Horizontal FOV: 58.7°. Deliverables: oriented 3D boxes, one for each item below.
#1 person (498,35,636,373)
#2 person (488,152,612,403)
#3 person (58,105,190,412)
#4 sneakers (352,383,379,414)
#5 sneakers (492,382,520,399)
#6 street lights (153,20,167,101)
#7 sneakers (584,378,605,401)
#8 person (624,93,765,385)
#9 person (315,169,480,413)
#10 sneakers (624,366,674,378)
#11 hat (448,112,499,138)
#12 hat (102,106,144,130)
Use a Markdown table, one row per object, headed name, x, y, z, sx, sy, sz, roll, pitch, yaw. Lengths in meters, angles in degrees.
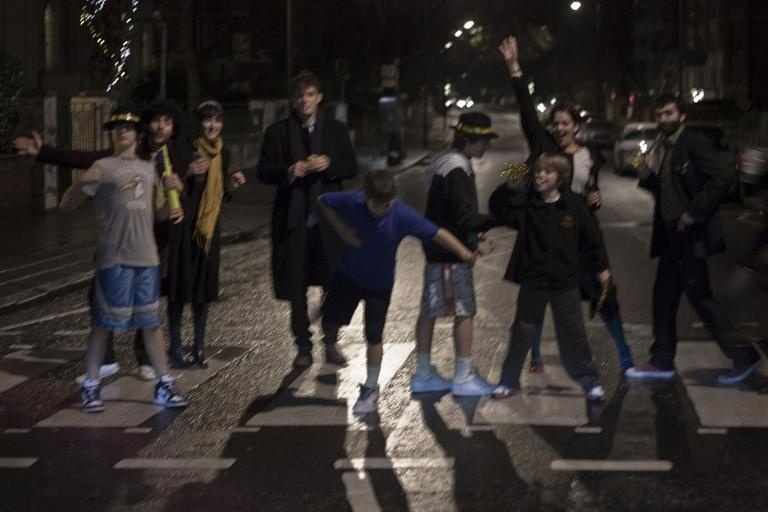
| name | x | y | z | sx | sy | sz | roll | pitch | yaw |
| --- | --- | --- | --- | --- | --- | --- | --- | --- | --- |
| person | 1.538 | -0.404 | 6.083 | 1.346 | 3.063 | 0.985 | 1 | -12 | 30 |
| person | 1.436 | 0.187 | 6.033 | 1.027 | 2.173 | 0.330 | 1 | 9 | 9 |
| person | -2.186 | 0.068 | 5.853 | 0.934 | 2.534 | 0.406 | -3 | 9 | -13 |
| sneakers | -0.166 | 1.254 | 5.913 | 0.173 | 0.114 | 0.244 | 4 | 40 | 29 |
| sneakers | 1.073 | 1.226 | 6.199 | 0.287 | 0.120 | 0.106 | -5 | 5 | -7 |
| street lights | -6.493 | -5.838 | 20.212 | 0.492 | 2.285 | 0.470 | 1 | 5 | 5 |
| sneakers | 1.854 | 1.197 | 6.059 | 0.105 | 0.120 | 0.273 | -1 | -6 | 0 |
| person | 2.896 | -0.161 | 6.462 | 1.047 | 2.657 | 0.572 | 3 | 10 | 21 |
| person | -0.031 | 0.297 | 5.881 | 1.255 | 2.064 | 0.665 | 1 | 9 | 12 |
| sneakers | 2.538 | 1.121 | 6.592 | 0.408 | 0.129 | 0.167 | 4 | 0 | 9 |
| hat | 0.835 | -1.171 | 6.167 | 0.305 | 0.122 | 0.265 | 4 | 16 | -3 |
| hat | -2.279 | -1.167 | 5.826 | 0.349 | 0.171 | 0.361 | -2 | 7 | 2 |
